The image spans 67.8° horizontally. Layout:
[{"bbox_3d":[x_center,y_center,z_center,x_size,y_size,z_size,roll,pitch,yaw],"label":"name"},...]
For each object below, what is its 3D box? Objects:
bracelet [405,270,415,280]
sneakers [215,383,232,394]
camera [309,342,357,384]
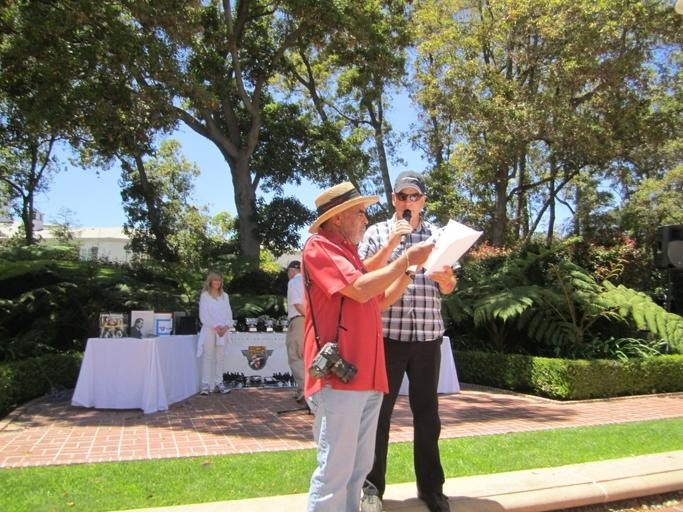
[{"bbox_3d":[0.619,0.152,4.481,0.061,0.042,0.093,7,-51,27],"label":"bracelet"},{"bbox_3d":[-2.551,2.813,10.787,0.158,0.186,0.392,3,-8,-42],"label":"sneakers"},{"bbox_3d":[-0.067,0.815,3.735,0.302,0.305,0.145,41,-5,-14],"label":"camera"}]
